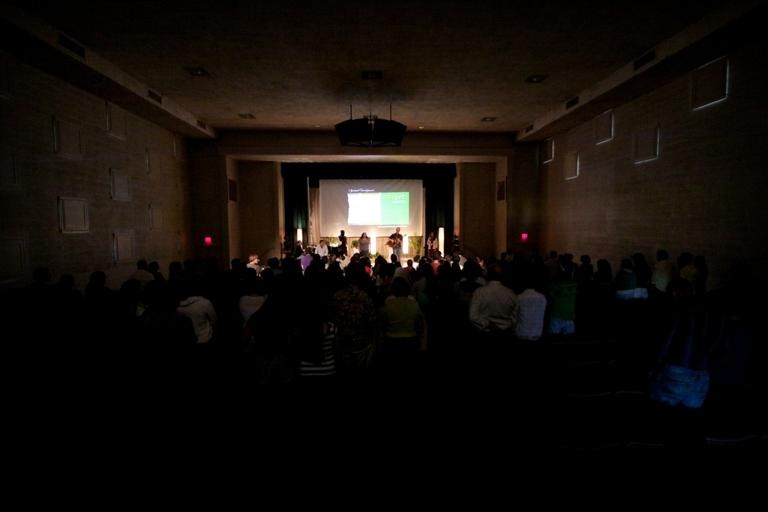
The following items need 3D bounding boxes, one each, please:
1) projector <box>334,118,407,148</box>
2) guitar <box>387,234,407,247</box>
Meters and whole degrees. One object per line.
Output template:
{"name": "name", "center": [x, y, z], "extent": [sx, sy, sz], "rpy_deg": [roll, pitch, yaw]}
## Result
{"name": "projector", "center": [-0.263, -2.379, 9.934], "extent": [0.869, 0.319, 0.844], "rpy_deg": [-1, 7, -5]}
{"name": "guitar", "center": [0.355, -0.506, 15.847], "extent": [0.461, 0.238, 0.883], "rpy_deg": [2, 0, 5]}
